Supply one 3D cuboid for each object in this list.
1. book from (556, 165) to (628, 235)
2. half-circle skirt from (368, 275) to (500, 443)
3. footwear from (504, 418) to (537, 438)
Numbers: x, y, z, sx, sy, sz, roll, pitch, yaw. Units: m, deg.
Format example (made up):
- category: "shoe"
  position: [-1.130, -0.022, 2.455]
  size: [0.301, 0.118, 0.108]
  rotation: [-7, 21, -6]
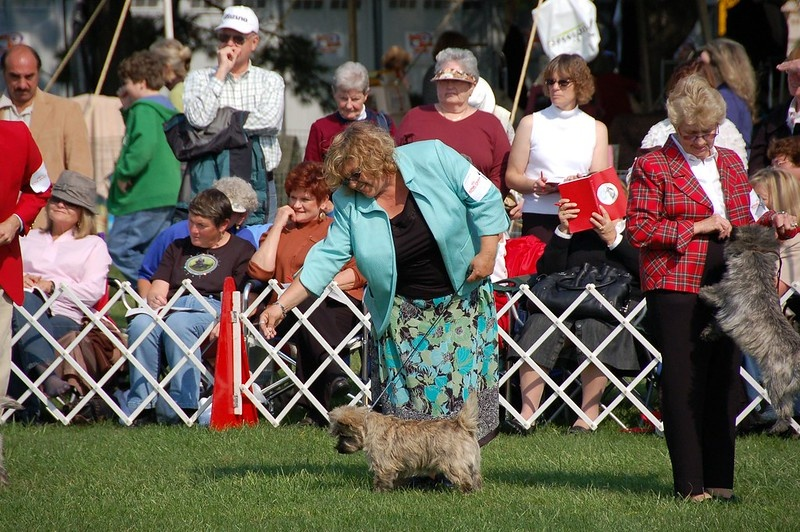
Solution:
- category: "book"
  position: [1.738, -0.593, 15.025]
  size: [0.606, 0.582, 0.333]
  rotation: [1, 7, 2]
- category: "half-circle skirt"
  position: [0.406, 0.789, 14.076]
  size: [1.329, 2.155, 1.111]
  rotation: [1, -7, 5]
- category: "footwear"
  position: [1.087, 1.456, 14.988]
  size: [0.278, 0.119, 0.106]
  rotation: [21, 37, 3]
